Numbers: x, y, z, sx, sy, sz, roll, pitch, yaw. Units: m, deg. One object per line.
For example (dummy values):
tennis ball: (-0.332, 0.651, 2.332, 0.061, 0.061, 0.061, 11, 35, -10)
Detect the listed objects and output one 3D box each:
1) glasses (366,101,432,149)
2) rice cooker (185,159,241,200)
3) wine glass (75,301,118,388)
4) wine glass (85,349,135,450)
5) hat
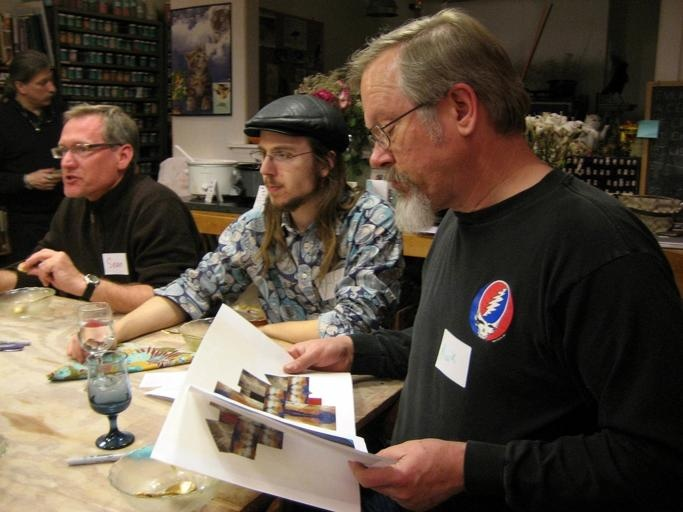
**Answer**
glasses: (0.128, -0.297, 1.176, 0.105, 0.027, 0.095, -27, 5, -5)
rice cooker: (-1.086, -0.640, 4.396, 0.476, 0.234, 0.394, -1, 7, -17)
wine glass: (-0.714, 0.271, 1.562, 0.121, 0.267, 0.142, -2, 13, -27)
wine glass: (-0.598, 0.357, 1.337, 0.106, 0.188, 0.264, -2, 11, -25)
hat: (-0.185, -0.580, 2.309, 0.368, 0.226, 0.516, -8, 21, -42)
